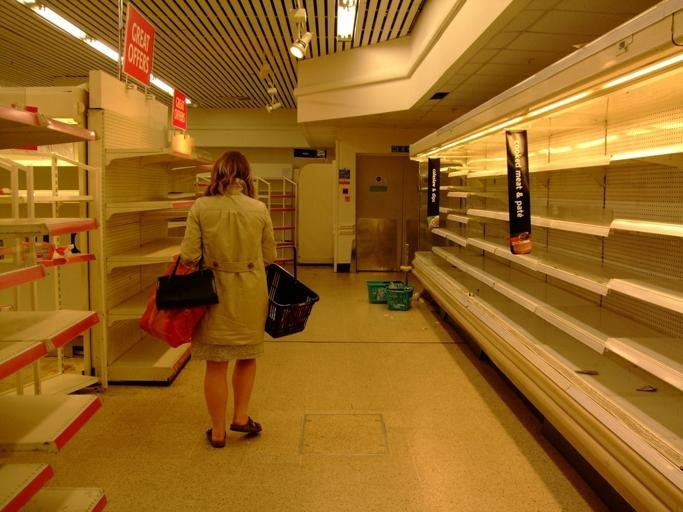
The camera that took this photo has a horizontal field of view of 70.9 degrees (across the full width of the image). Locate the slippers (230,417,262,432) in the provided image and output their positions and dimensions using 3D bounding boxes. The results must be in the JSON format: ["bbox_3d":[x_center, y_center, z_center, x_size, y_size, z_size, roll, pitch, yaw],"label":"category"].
[{"bbox_3d":[-0.673,1.220,3.493,0.244,0.116,0.090,4,1,-11],"label":"slippers"}]

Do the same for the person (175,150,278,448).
[{"bbox_3d":[-0.738,0.285,3.364,0.454,2.005,0.573,6,11,29],"label":"person"}]

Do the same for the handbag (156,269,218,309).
[{"bbox_3d":[-0.976,0.222,3.072,0.249,0.219,0.069,-5,-27,-13],"label":"handbag"}]
